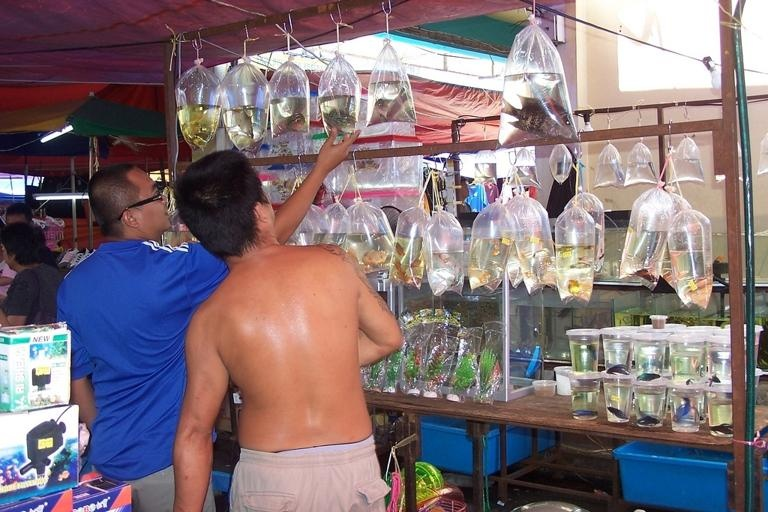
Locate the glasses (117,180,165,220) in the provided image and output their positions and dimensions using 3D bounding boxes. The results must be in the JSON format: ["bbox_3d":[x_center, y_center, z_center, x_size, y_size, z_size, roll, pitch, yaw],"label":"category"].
[{"bbox_3d":[-0.995,-0.221,2.575,0.161,0.048,0.160,-36,23,-13],"label":"glasses"}]

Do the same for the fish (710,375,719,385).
[{"bbox_3d":[1.475,0.554,2.813,0.026,0.032,0.035,-6,-4,-34],"label":"fish"}]

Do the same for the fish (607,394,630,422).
[{"bbox_3d":[1.078,0.719,2.998,0.112,0.127,0.115,0,-8,4],"label":"fish"}]

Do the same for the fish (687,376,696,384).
[{"bbox_3d":[1.385,0.553,2.859,0.041,0.041,0.025,7,4,-41],"label":"fish"}]

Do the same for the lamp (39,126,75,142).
[{"bbox_3d":[-3.577,-1.321,6.847,0.312,0.077,0.318,-21,4,40],"label":"lamp"}]

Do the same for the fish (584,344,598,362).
[{"bbox_3d":[1.034,0.476,3.145,0.075,0.087,0.075,-2,3,-5],"label":"fish"}]

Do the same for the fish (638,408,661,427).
[{"bbox_3d":[1.198,0.728,2.858,0.066,0.060,0.085,0,-7,-4],"label":"fish"}]

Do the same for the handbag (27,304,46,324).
[{"bbox_3d":[-2.229,0.362,4.025,0.068,0.117,0.124,4,2,18],"label":"handbag"}]

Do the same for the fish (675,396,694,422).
[{"bbox_3d":[1.326,0.674,2.803,0.045,0.101,0.060,5,8,-46],"label":"fish"}]
